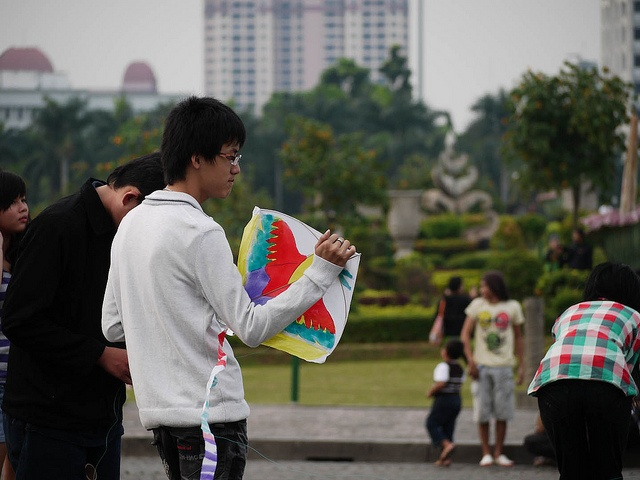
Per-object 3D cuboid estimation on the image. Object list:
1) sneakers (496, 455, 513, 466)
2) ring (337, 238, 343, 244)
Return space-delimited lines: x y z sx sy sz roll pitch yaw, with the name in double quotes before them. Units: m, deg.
"sneakers" 1.734 2.074 15.406 0.132 0.105 0.171 2 1 40
"ring" 0.136 0.012 11.500 0.032 0.025 0.033 1 -6 0
